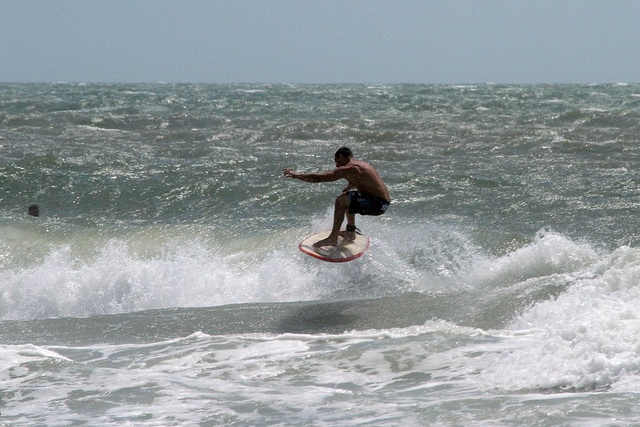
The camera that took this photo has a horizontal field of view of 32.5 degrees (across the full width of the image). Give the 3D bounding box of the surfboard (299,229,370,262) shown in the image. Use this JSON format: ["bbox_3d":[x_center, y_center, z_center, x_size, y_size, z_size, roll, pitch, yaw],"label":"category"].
[{"bbox_3d":[0.338,0.812,27.128,1.576,0.135,1.479,5,26,3],"label":"surfboard"}]
